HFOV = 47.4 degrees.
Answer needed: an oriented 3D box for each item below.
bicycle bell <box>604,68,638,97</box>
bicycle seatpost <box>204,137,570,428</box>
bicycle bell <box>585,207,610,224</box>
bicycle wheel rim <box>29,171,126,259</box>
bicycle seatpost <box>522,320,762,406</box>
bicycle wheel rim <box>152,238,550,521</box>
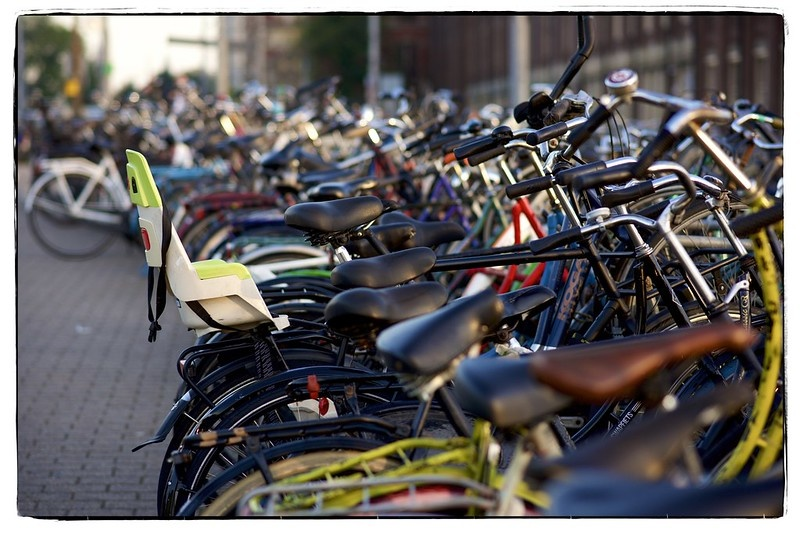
[{"bbox_3d":[0.998,-0.836,4.131,0.147,0.116,0.210,4,13,11],"label":"bicycle bell"},{"bbox_3d":[-0.022,0.031,4.117,1.501,0.966,0.932,-4,2,-37],"label":"bicycle seatpost"},{"bbox_3d":[0.915,-0.238,4.254,0.080,0.051,0.082,-4,5,35],"label":"bicycle bell"},{"bbox_3d":[-4.054,-0.595,10.966,0.859,1.477,0.734,-11,-13,-11],"label":"bicycle wheel rim"},{"bbox_3d":[0.757,0.304,3.088,0.696,0.334,0.543,2,12,0],"label":"bicycle seatpost"},{"bbox_3d":[-0.136,0.481,3.386,1.458,0.951,0.783,-2,0,-11],"label":"bicycle wheel rim"}]
